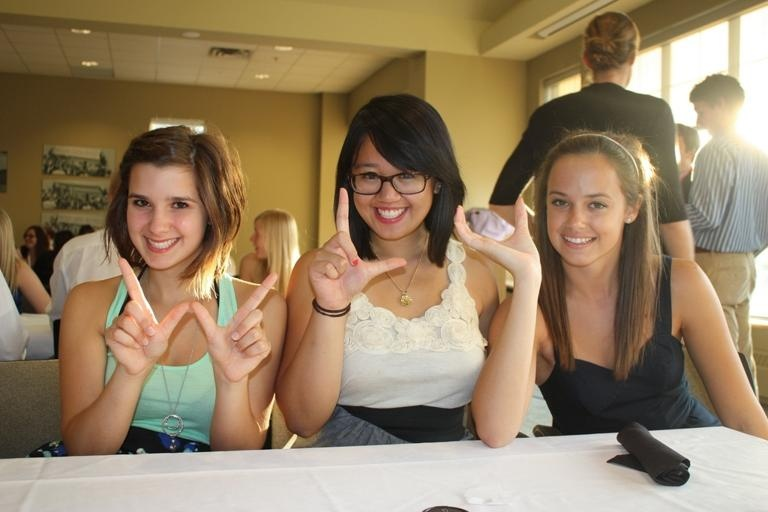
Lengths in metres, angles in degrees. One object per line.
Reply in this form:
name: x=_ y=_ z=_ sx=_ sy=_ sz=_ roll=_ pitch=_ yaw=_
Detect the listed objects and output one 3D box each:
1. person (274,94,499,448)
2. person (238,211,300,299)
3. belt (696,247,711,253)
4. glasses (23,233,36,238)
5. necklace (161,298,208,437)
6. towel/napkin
person: x=0.041 y=0.040 z=2.210 sx=0.898 sy=1.386 sz=0.608 roll=-2 pitch=6 yaw=-32
person: x=-1.015 y=0.011 z=4.875 sx=0.607 sy=0.802 sz=0.528 roll=3 pitch=-1 yaw=41
belt: x=2.138 y=-0.039 z=3.725 sx=0.044 sy=0.042 sz=0.012 roll=11 pitch=36 yaw=20
glasses: x=-4.522 y=-0.254 z=7.116 sx=0.077 sy=0.038 sz=0.101 roll=-2 pitch=-1 yaw=-4
necklace: x=-0.725 y=0.497 z=2.048 sx=0.170 sy=0.306 sz=0.101 roll=2 pitch=-1 yaw=3
towel/napkin: x=0.768 y=0.549 z=1.598 sx=0.129 sy=0.065 sz=0.183 roll=-9 pitch=7 yaw=-2
